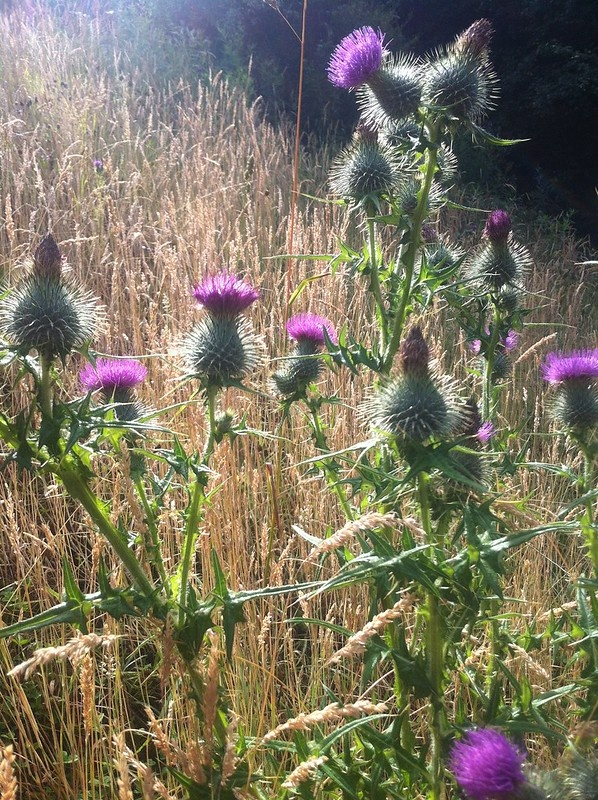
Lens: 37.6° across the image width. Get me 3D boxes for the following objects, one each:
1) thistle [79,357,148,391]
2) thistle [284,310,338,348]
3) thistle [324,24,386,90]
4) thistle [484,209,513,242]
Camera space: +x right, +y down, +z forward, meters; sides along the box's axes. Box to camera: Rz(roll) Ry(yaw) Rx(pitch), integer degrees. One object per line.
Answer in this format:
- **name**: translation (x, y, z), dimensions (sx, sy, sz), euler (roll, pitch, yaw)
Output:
- **thistle**: translation (-0.659, -0.059, 3.073), dimensions (0.149, 0.099, 0.161), euler (-3, -3, 44)
- **thistle**: translation (0.060, -0.310, 3.867), dimensions (0.163, 0.131, 0.172), euler (20, 8, 14)
- **thistle**: translation (0.247, -1.452, 3.740), dimensions (0.241, 0.262, 0.345), euler (-6, 26, -15)
- **thistle**: translation (0.971, -0.849, 4.289), dimensions (0.140, 0.177, 0.153), euler (9, 25, 19)
